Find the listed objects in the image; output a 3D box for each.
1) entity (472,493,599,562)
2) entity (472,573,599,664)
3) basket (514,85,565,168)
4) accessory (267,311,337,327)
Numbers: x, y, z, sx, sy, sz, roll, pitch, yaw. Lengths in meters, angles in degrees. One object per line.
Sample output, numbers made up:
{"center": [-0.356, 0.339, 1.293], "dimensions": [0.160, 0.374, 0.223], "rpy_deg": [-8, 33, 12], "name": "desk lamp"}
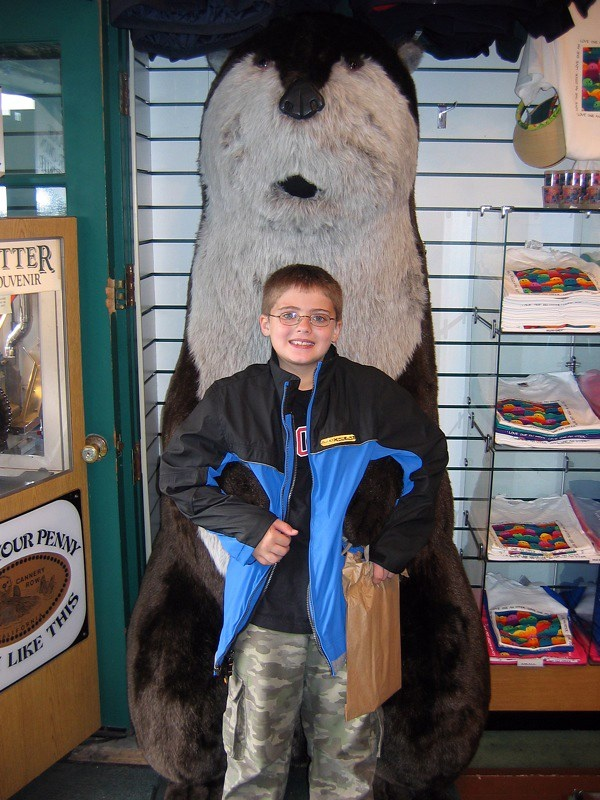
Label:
{"center": [0.820, 0.448, 2.307], "dimensions": [0.381, 0.162, 0.320], "rpy_deg": [-1, 6, 5], "name": "entity"}
{"center": [0.854, 0.786, 2.382], "dimensions": [0.397, 0.260, 0.296], "rpy_deg": [-1, 6, 8], "name": "entity"}
{"center": [0.778, -0.876, 2.152], "dimensions": [0.180, 0.225, 0.107], "rpy_deg": [0, 4, 44], "name": "basket"}
{"center": [0.004, -0.182, 1.485], "dimensions": [0.140, 0.041, 0.055], "rpy_deg": [-2, 6, -1], "name": "accessory"}
